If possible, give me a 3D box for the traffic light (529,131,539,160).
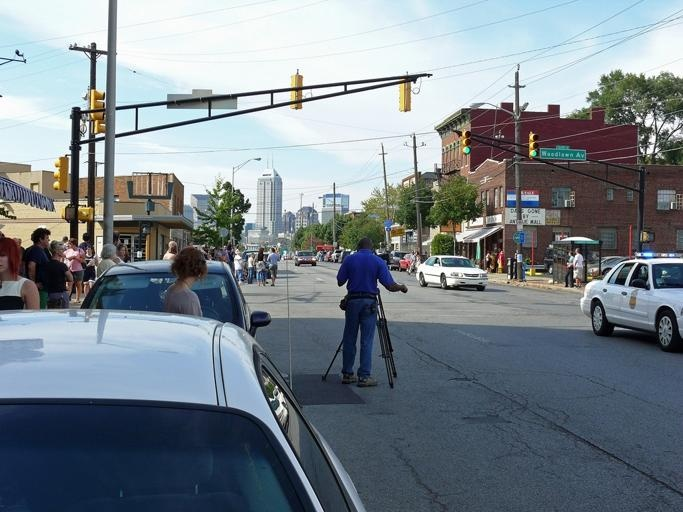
[{"bbox_3d":[7.137,-4.183,27.911,0.298,1.168,2.414,0,2,16],"label":"traffic light"}]

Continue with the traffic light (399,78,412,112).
[{"bbox_3d":[1.777,-4.530,21.085,0.265,0.823,0.258,0,2,-1],"label":"traffic light"}]

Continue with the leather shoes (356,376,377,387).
[{"bbox_3d":[0.324,1.648,9.713,0.261,0.134,0.106,-2,4,-25],"label":"leather shoes"}]

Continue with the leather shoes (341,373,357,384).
[{"bbox_3d":[0.096,1.633,9.921,0.089,0.119,0.226,2,6,18],"label":"leather shoes"}]

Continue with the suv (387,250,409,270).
[{"bbox_3d":[4.302,0.429,56.862,0.842,0.886,1.929,0,-4,-11],"label":"suv"}]

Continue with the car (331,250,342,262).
[{"bbox_3d":[-0.506,0.022,93.144,1.159,1.015,2.158,-1,-2,-9],"label":"car"}]

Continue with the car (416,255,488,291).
[{"bbox_3d":[4.581,0.732,31.576,1.243,1.014,3.099,2,-3,-15],"label":"car"}]

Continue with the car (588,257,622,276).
[{"bbox_3d":[11.300,0.442,32.429,1.779,0.670,0.825,-1,-2,-32],"label":"car"}]

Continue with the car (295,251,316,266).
[{"bbox_3d":[-3.498,0.226,71.207,1.103,1.027,2.574,0,4,-5],"label":"car"}]

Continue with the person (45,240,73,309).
[{"bbox_3d":[-4.617,0.308,12.238,0.372,1.102,0.656,-1,2,-22],"label":"person"}]

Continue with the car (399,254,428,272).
[{"bbox_3d":[4.746,0.481,53.498,0.980,0.984,1.813,0,-5,-17],"label":"car"}]

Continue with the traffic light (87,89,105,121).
[{"bbox_3d":[-6.123,-3.875,18.740,0.367,0.798,0.951,-1,2,-19],"label":"traffic light"}]
